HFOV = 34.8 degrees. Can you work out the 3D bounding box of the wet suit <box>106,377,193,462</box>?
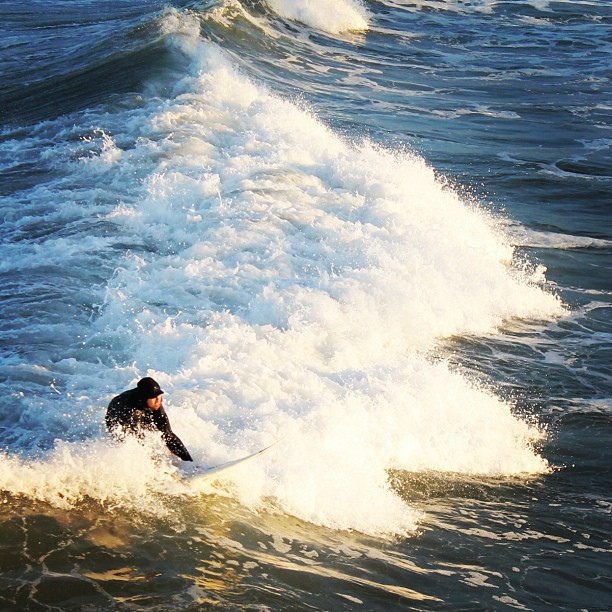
[{"bbox_3d":[-2.058,1.420,12.328,0.978,1.020,0.852,-3,1,-20],"label":"wet suit"}]
